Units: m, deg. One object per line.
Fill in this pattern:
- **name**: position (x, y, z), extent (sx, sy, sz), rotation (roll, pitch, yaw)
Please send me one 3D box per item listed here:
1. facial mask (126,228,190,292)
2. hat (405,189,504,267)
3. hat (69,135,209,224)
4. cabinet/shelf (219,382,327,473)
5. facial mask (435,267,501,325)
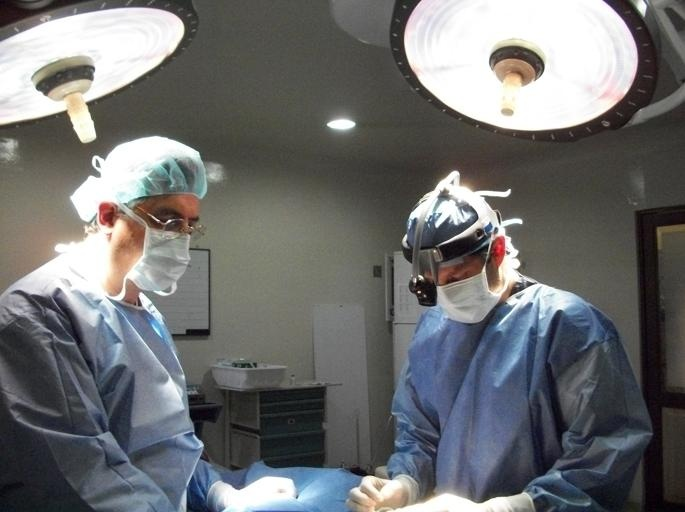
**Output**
- **facial mask**: position (-0.507, 0.016, 1.763), extent (0.159, 0.112, 0.150), rotation (-2, -7, 17)
- **hat**: position (0.304, -0.059, 1.774), extent (0.173, 0.187, 0.212), rotation (-24, -13, 41)
- **hat**: position (-0.571, -0.207, 1.791), extent (0.282, 0.158, 0.257), rotation (-17, 30, -2)
- **cabinet/shelf**: position (-0.400, 1.127, 4.500), extent (0.554, 0.902, 0.687), rotation (-11, -14, 43)
- **facial mask**: position (0.381, 0.134, 1.844), extent (0.174, 0.109, 0.140), rotation (-38, 14, -37)
